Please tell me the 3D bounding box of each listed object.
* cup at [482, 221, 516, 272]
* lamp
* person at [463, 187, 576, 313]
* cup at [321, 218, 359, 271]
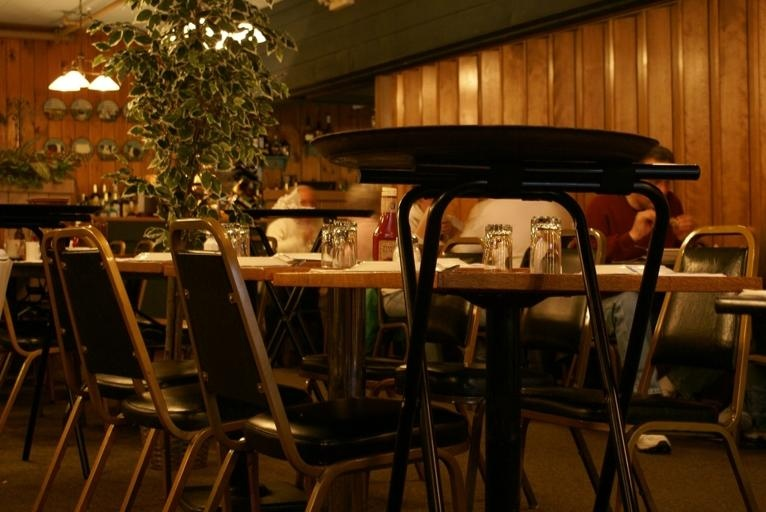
[{"bbox_3d":[0.357,-0.023,2.291,0.114,0.191,0.121,1,-7,0],"label":"cup"},{"bbox_3d":[-3.749,-2.627,8.975,0.718,1.293,3.275,-5,9,-22],"label":"lamp"},{"bbox_3d":[0.974,-0.024,5.047,0.744,0.527,0.545,1,-5,-8],"label":"person"},{"bbox_3d":[-0.138,-0.040,2.493,0.139,0.218,0.148,0,-5,0],"label":"cup"}]
